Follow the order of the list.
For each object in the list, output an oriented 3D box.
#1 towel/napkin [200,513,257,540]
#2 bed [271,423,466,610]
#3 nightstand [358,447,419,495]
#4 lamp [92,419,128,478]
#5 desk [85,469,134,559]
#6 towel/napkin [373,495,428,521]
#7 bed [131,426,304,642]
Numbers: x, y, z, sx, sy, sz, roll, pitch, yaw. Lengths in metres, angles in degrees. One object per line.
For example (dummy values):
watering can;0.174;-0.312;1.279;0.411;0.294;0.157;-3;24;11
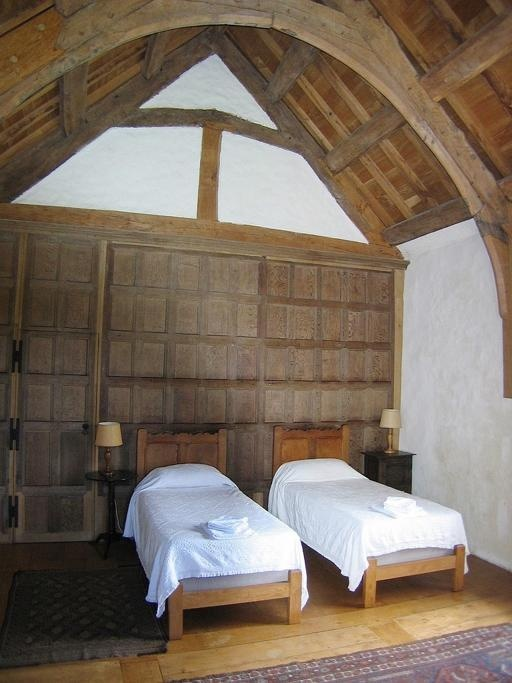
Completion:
towel/napkin;-0.189;1.229;3.696;0.328;0.099;0.200;3;-1;-10
bed;0.833;1.414;4.835;1.055;0.921;1.559;0;-2;-22
nightstand;1.431;1.435;6.070;0.445;0.456;0.383;0;3;-5
lamp;-1.325;0.952;5.045;0.240;0.417;0.457;3;-1;-13
desk;-1.298;1.530;5.032;0.410;0.585;0.393;-11;-20;20
towel/napkin;1.127;1.277;4.331;0.492;0.085;0.280;3;-1;-22
bed;-0.712;1.815;5.294;0.888;1.639;0.906;1;18;-8
